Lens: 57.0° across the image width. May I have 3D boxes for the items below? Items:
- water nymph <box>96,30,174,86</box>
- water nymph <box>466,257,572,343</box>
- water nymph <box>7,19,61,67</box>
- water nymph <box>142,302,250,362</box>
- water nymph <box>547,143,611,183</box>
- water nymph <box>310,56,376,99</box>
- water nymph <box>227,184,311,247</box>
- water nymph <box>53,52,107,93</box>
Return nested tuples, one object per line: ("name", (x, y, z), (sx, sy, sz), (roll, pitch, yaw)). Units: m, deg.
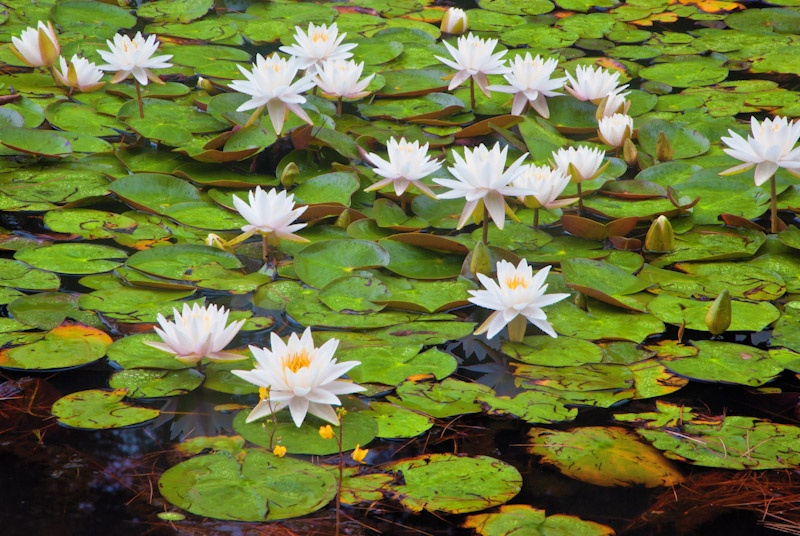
("water nymph", (-1.575, -1.237, 4.405), (0.384, 0.348, 0.368), (-7, 35, -16))
("water nymph", (0.529, 0.147, 3.290), (0.565, 0.142, 0.438), (9, 37, 18))
("water nymph", (-2.272, -1.384, 4.626), (0.259, 0.338, 0.273), (-4, 37, -11))
("water nymph", (-0.837, 0.281, 3.145), (0.435, 0.137, 0.356), (3, 12, 20))
("water nymph", (0.888, -0.573, 3.961), (0.327, 0.120, 0.366), (-2, 1, -44))
("water nymph", (-0.351, -1.155, 4.529), (0.404, 0.173, 0.282), (18, 44, 23))
("water nymph", (-0.618, -0.257, 3.575), (0.341, 0.306, 0.230), (1, 36, -4))
("water nymph", (-2.063, -1.252, 4.742), (0.386, 0.166, 0.330), (2, 23, -23))
